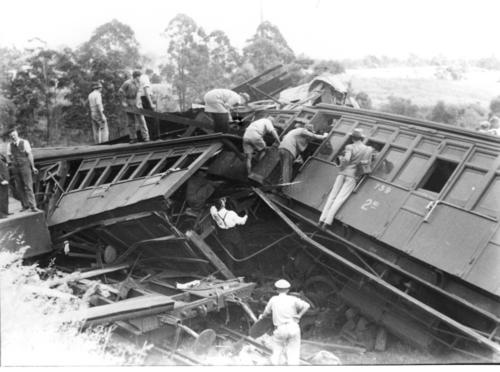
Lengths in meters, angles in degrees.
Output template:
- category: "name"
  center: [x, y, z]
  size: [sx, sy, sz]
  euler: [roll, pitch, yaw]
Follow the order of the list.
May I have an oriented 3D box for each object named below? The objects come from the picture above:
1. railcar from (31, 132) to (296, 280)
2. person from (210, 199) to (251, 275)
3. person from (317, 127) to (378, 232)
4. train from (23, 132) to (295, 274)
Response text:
- category: "railcar"
  center: [-2.644, 0.474, 9.467]
  size: [5.797, 2.383, 4.008]
  euler: [2, 45, 12]
- category: "person"
  center: [-0.522, 0.952, 9.108]
  size: [0.709, 1.694, 0.663]
  euler: [4, 42, 17]
- category: "person"
  center: [2.136, -0.003, 8.321]
  size: [0.977, 2.007, 0.480]
  euler: [-4, 18, -37]
- category: "train"
  center: [-2.776, 1.117, 10.063]
  size: [5.669, 2.137, 4.115]
  euler: [-6, 32, 16]
